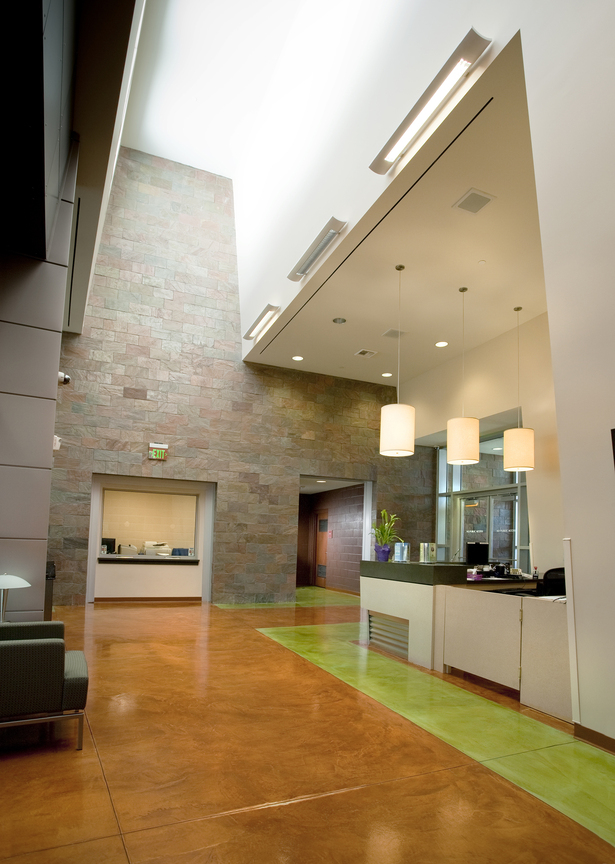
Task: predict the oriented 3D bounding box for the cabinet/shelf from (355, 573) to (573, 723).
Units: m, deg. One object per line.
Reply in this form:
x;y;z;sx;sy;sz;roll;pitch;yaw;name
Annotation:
1.579;2.068;5.477;0.215;0.925;2.721;7;-13;-22;cabinet/shelf

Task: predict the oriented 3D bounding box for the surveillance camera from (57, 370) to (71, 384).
-4.556;-1.035;10.139;0.190;0.240;0.439;6;-13;-17;surveillance camera

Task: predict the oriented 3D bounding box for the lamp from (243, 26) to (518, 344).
0.909;-3.220;7.021;0.376;0.247;4.710;33;-15;-11;lamp
